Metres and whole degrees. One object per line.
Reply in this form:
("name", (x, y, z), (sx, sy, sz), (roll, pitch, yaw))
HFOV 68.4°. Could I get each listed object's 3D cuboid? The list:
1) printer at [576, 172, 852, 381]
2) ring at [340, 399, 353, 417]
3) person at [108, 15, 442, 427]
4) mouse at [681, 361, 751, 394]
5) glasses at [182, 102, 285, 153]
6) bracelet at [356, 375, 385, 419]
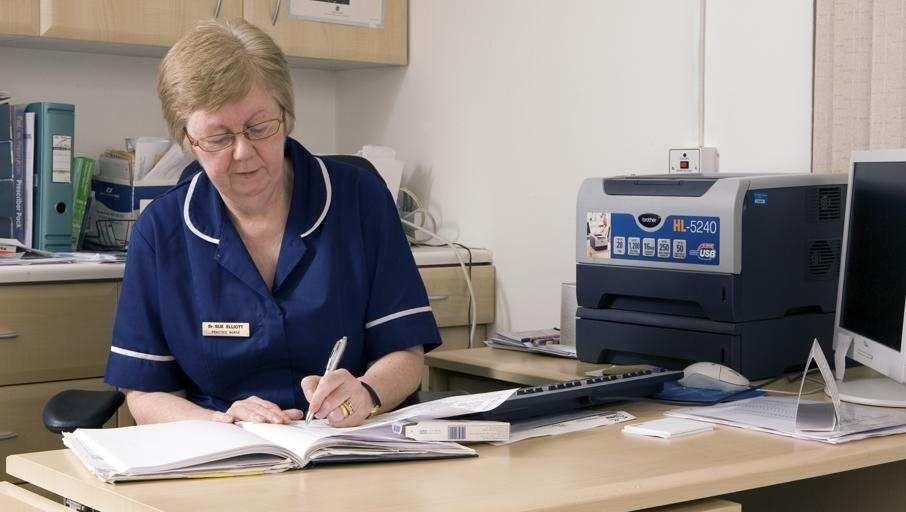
("printer", (0.837, 0.043, 2.079), (0.664, 0.525, 0.638), (-4, 3, -44))
("ring", (-0.234, 0.332, 1.462), (0.028, 0.032, 0.034), (-10, -18, -5))
("person", (-0.484, -0.001, 1.833), (0.704, 1.154, 0.704), (-1, 3, -20))
("mouse", (0.679, 0.310, 1.743), (0.142, 0.046, 0.083), (0, 4, 22))
("glasses", (-0.532, -0.296, 1.615), (0.226, 0.087, 0.075), (-4, 9, -13))
("bracelet", (-0.184, 0.325, 1.532), (0.027, 0.072, 0.067), (-33, 18, -19))
